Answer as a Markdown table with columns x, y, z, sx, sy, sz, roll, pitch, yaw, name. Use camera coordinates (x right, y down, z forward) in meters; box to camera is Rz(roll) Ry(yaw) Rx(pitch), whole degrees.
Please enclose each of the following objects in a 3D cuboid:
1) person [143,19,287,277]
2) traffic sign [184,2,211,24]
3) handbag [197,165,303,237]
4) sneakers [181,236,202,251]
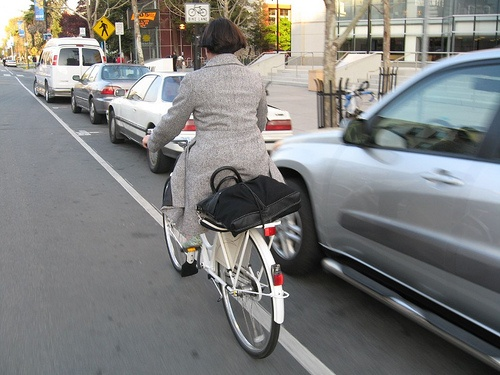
| x | y | z | sx | sy | sz | roll | pitch | yaw | name |
| --- | --- | --- | --- | --- | --- | --- | --- | --- | --- |
| -0.251 | -0.283 | 2.730 | 0.963 | 1.928 | 0.944 | -5 | 15 | -20 | person |
| -2.861 | -9.294 | 18.093 | 1.737 | 1.271 | 0.988 | 0 | 6 | -2 | traffic sign |
| -0.024 | 0.061 | 2.245 | 0.553 | 0.380 | 0.528 | -8 | 16 | -32 | handbag |
| -0.545 | 0.514 | 3.057 | 0.169 | 0.069 | 0.225 | 24 | -33 | -24 | sneakers |
